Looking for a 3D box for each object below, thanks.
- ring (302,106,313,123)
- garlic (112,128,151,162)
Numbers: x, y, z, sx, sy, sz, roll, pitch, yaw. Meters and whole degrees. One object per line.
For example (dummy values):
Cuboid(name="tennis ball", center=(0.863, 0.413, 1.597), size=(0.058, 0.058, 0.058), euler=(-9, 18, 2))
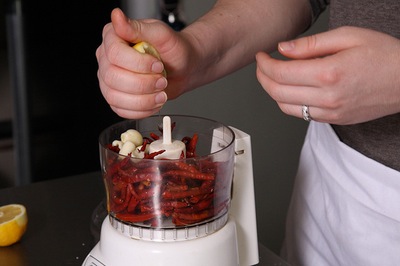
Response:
Cuboid(name="ring", center=(0.307, -0.056, 1.097), size=(0.013, 0.040, 0.031), euler=(-7, 18, -2))
Cuboid(name="garlic", center=(-0.194, 0.034, 1.085), size=(0.054, 0.089, 0.081), euler=(10, 15, 35))
